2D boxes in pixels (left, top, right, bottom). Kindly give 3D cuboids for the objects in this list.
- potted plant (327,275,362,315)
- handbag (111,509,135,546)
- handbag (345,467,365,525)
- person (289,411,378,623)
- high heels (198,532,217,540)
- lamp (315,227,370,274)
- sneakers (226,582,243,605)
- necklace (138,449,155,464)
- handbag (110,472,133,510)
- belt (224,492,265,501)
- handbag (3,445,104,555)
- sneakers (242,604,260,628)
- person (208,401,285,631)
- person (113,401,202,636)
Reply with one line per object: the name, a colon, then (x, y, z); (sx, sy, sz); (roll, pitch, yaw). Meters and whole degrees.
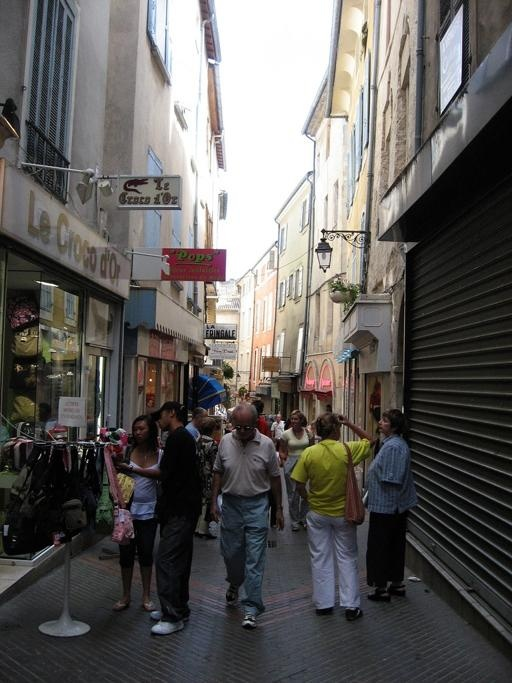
potted plant: (2.372, -1.320, 15.221); (1.020, 0.789, 1.138); (6, 2, -16)
handbag: (-0.916, 1.283, 3.810); (0.134, 0.270, 0.304); (4, -12, -10)
handbag: (0.773, 1.228, 4.393); (0.134, 0.441, 0.254); (0, -11, 11)
person: (0.613, 1.375, 4.547); (0.644, 1.561, 0.784); (-1, -11, 12)
high heels: (-0.691, 2.731, 7.752); (0.166, 0.077, 0.133); (2, 0, -16)
lamp: (2.027, -2.187, 13.039); (1.172, 0.380, 1.162); (7, -48, 17)
sneakers: (-0.199, 2.030, 4.516); (0.078, 0.114, 0.242); (0, 8, -1)
necklace: (-0.844, 0.895, 4.244); (0.077, 0.132, 0.027); (6, -6, 1)
handbag: (-0.951, 1.064, 3.958); (0.056, 0.246, 0.222); (-2, 14, -32)
belt: (-0.092, 1.163, 4.156); (0.323, 0.051, 0.095); (0, -12, 10)
handbag: (-1.289, 1.017, 3.646); (0.643, 0.700, 0.411); (12, -15, -40)
sneakers: (-0.044, 1.916, 3.841); (0.104, 0.120, 0.144); (0, -12, 8)
person: (-0.073, 1.260, 4.137); (0.617, 1.524, 0.556); (-3, -12, 21)
person: (-0.538, 1.265, 3.810); (0.310, 1.326, 0.369); (4, -11, -13)
